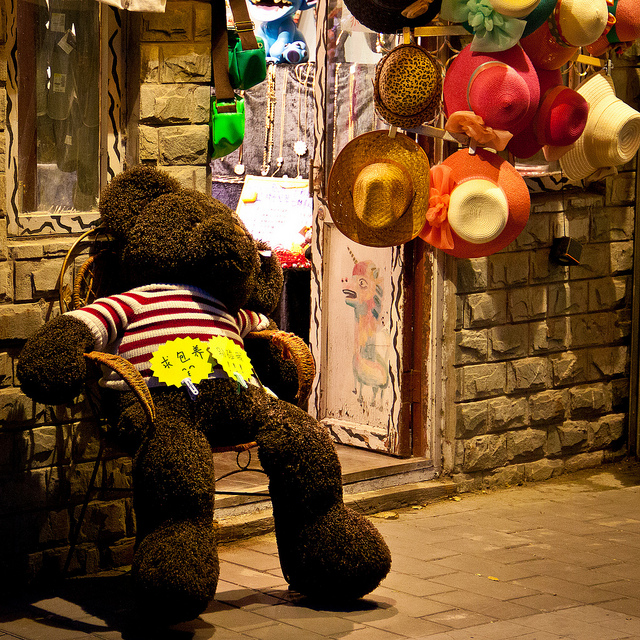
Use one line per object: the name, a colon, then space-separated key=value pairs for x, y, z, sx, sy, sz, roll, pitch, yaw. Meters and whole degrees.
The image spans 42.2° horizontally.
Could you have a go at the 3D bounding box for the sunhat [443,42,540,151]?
sunhat: x=0.736 y=-0.970 z=3.608 sx=0.424 sy=0.471 sz=0.295 roll=1 pitch=-1 yaw=15

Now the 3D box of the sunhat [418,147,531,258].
sunhat: x=0.704 y=-0.546 z=3.758 sx=0.430 sy=0.503 sz=0.403 roll=9 pitch=16 yaw=27

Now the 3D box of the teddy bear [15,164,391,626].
teddy bear: x=-0.398 y=0.185 z=2.888 sx=1.143 sy=1.723 sz=0.846 roll=2 pitch=-12 yaw=-35
